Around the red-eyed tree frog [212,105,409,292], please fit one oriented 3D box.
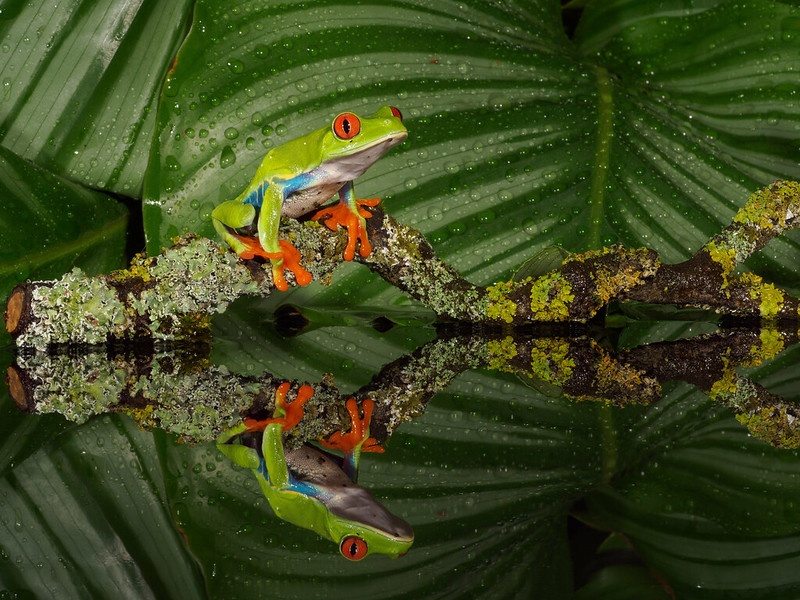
[{"bbox_3d":[-0.232,-0.313,2.317,0.532,0.387,0.511,7,22,20],"label":"red-eyed tree frog"}]
